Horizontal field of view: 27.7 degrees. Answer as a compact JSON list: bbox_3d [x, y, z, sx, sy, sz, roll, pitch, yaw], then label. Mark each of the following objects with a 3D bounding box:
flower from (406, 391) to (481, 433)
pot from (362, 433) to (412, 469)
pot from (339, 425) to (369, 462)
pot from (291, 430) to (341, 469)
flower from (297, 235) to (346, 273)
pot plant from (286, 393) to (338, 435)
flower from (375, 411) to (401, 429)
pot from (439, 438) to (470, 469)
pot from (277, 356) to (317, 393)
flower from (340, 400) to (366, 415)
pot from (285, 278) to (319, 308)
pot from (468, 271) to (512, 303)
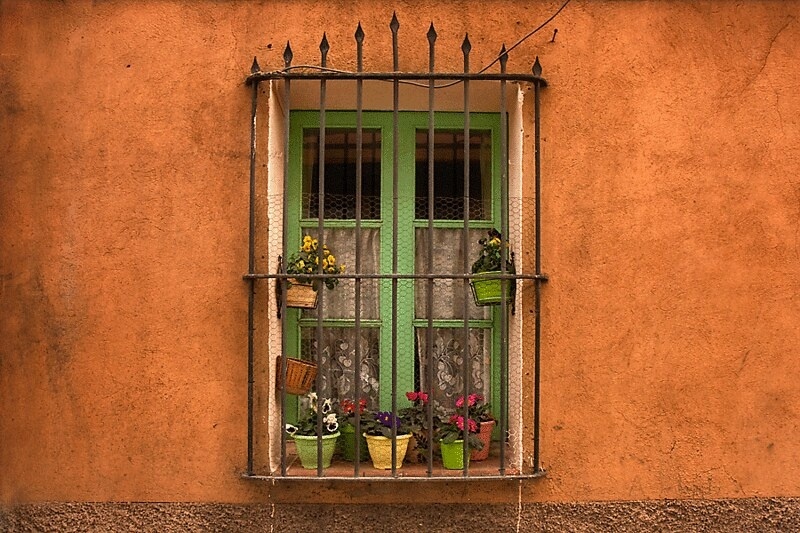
[{"bbox_3d":[0.333,1.058,11.641,0.359,0.152,0.354,2,4,-5],"label":"flower"},{"bbox_3d":[-0.079,1.331,11.592,0.270,0.187,0.267,1,-8,0],"label":"pot"},{"bbox_3d":[-0.341,1.275,11.654,0.249,0.190,0.247,1,-3,0],"label":"pot"},{"bbox_3d":[-0.581,1.314,11.638,0.360,0.253,0.374,0,1,0],"label":"pot"},{"bbox_3d":[-0.544,-0.089,11.631,0.327,0.216,0.519,3,-2,-2],"label":"flower"},{"bbox_3d":[-0.624,1.072,11.623,0.334,0.235,0.329,-2,-3,43],"label":"pot plant"},{"bbox_3d":[-0.075,1.073,11.532,0.140,0.037,0.137,22,33,28],"label":"flower"},{"bbox_3d":[0.397,1.339,11.460,0.194,0.143,0.192,0,-6,0],"label":"pot"},{"bbox_3d":[-0.728,0.783,11.565,0.238,0.212,0.518,2,-2,31],"label":"pot"},{"bbox_3d":[-0.338,1.027,11.689,0.137,0.134,0.048,-9,-32,-6],"label":"flower"},{"bbox_3d":[-0.696,0.201,11.470,0.243,0.168,0.195,2,2,1],"label":"pot"},{"bbox_3d":[0.645,0.131,11.531,0.236,0.158,0.250,0,-8,0],"label":"pot"}]
